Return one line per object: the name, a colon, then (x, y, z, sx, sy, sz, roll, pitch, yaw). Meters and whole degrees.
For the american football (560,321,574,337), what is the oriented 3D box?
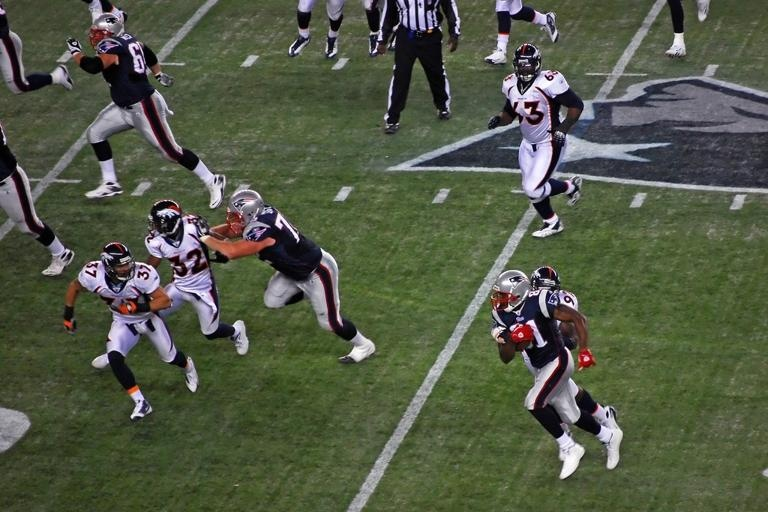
american football: (1.602, 0.639, 9.735, 0.150, 0.115, 0.095, 23, 78, 14)

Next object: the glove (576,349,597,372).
glove: (1.718, 0.885, 9.513, 0.124, 0.212, 0.193, -3, 32, 7)

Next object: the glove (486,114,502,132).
glove: (1.261, -1.484, 12.346, 0.154, 0.087, 0.193, 14, 34, 36)

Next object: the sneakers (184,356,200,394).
sneakers: (-1.848, 1.146, 10.738, 0.157, 0.318, 0.176, -6, 15, 13)

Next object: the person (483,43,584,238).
person: (1.645, -1.271, 12.229, 0.955, 1.973, 1.121, 3, 35, 16)

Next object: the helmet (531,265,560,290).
helmet: (1.421, 0.193, 9.837, 0.241, 0.198, 0.243, 10, 33, -1)

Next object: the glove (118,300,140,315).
glove: (-2.376, 0.480, 10.417, 0.160, 0.108, 0.136, 11, 34, 27)

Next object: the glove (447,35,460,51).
glove: (0.937, -2.779, 14.520, 0.107, 0.259, 0.166, 1, 8, -10)

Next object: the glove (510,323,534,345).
glove: (1.184, 0.674, 9.597, 0.197, 0.193, 0.143, -3, 33, 6)

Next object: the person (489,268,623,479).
person: (1.517, 1.011, 9.807, 0.881, 1.754, 1.109, -17, 34, -12)

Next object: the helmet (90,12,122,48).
helmet: (-3.069, -2.563, 12.519, 0.529, 0.338, 0.358, 1, 20, 1)

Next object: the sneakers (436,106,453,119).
sneakers: (0.786, -1.870, 14.584, 0.217, 0.140, 0.380, -3, 6, -4)

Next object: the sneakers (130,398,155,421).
sneakers: (-2.294, 1.452, 10.507, 0.128, 0.104, 0.309, 3, 8, 22)

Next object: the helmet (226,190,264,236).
helmet: (-1.327, -0.396, 10.659, 0.277, 0.481, 0.280, 16, 40, 31)

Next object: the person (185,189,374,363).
person: (-0.906, 0.193, 10.836, 1.535, 1.768, 0.581, 4, 37, 17)

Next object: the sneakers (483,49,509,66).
sneakers: (1.567, -2.761, 15.541, 0.349, 0.145, 0.138, -7, 71, -1)

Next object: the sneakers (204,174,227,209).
sneakers: (-1.930, -0.746, 13.016, 0.190, 0.397, 0.223, 12, 0, 29)

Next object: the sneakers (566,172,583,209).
sneakers: (2.164, -0.726, 12.620, 0.225, 0.350, 0.126, -8, 38, -1)

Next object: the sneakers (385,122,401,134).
sneakers: (0.103, -1.643, 14.292, 0.190, 0.148, 0.407, 0, 6, 9)

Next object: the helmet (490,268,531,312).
helmet: (1.115, 0.301, 9.728, 0.289, 0.332, 0.277, 8, 35, 22)

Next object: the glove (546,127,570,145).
glove: (1.910, -1.307, 12.179, 0.160, 0.205, 0.220, -6, 31, 1)

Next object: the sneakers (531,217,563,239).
sneakers: (1.811, -0.292, 12.261, 0.469, 0.200, 0.123, -18, 68, 17)

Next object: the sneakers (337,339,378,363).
sneakers: (-0.238, 0.954, 10.971, 0.433, 0.123, 0.179, -15, 22, -14)

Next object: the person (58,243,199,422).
person: (-2.426, 0.688, 10.524, 0.966, 1.597, 1.050, -18, 35, -15)

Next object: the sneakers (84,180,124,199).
sneakers: (-3.210, -0.747, 12.867, 0.486, 0.175, 0.149, -6, 64, -4)

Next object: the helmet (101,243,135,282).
helmet: (-2.498, 0.060, 10.430, 0.273, 0.351, 0.184, -2, 34, 8)
